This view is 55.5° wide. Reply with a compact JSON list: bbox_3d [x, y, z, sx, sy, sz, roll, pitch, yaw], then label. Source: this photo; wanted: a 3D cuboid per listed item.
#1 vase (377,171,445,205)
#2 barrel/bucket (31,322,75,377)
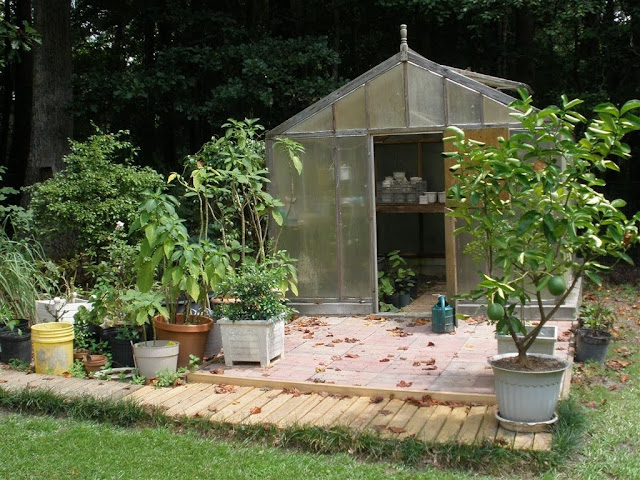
[{"bbox_3d":[1.502,-0.845,10.446,0.701,0.287,0.881,-1,3,-27],"label":"vase"},{"bbox_3d":[-2.852,1.176,6.609,0.581,0.507,0.536,0,0,0],"label":"barrel/bucket"}]
